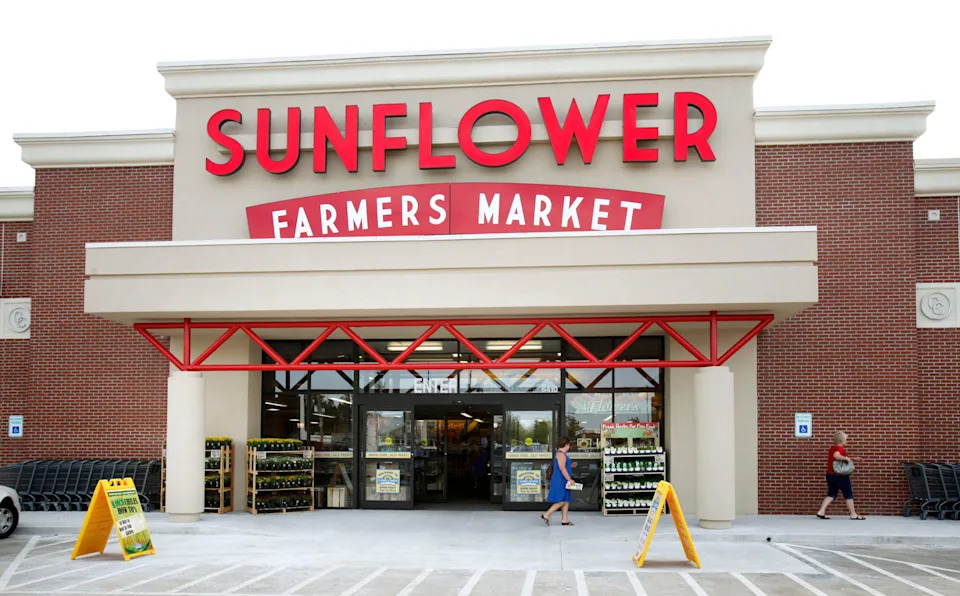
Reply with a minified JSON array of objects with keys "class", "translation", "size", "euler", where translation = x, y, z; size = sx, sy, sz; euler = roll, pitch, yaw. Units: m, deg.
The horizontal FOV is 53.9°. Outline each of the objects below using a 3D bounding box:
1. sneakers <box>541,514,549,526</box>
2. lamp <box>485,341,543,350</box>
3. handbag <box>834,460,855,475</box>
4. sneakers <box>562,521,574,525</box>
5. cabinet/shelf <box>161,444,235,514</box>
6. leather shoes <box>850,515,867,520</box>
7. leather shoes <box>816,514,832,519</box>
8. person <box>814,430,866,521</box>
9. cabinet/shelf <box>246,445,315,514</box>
[{"class":"sneakers","translation":[1.793,5.982,25.607],"size":[0.197,0.436,0.145],"euler":[-18,34,8]},{"class":"lamp","translation":[1.033,1.417,28.648],"size":[1.719,0.298,0.259],"euler":[0,1,1]},{"class":"handbag","translation":[10.157,4.695,26.255],"size":[0.543,0.229,0.635],"euler":[-1,-4,20]},{"class":"sneakers","translation":[2.380,6.104,25.636],"size":[0.269,0.058,0.120],"euler":[-3,-2,8]},{"class":"cabinet/shelf","translation":[-8.316,5.272,27.921],"size":[1.739,1.922,1.106],"euler":[-2,-10,-1]},{"class":"leather shoes","translation":[10.659,6.147,26.447],"size":[0.499,0.149,0.163],"euler":[-1,-3,5]},{"class":"leather shoes","translation":[9.720,6.122,26.486],"size":[0.404,0.134,0.125],"euler":[2,-3,0]},{"class":"person","translation":[10.256,4.971,26.597],"size":[1.086,2.420,1.278],"euler":[1,1,36]},{"class":"cabinet/shelf","translation":[-6.003,5.366,27.786],"size":[2.346,2.175,0.964],"euler":[1,-1,-11]}]
